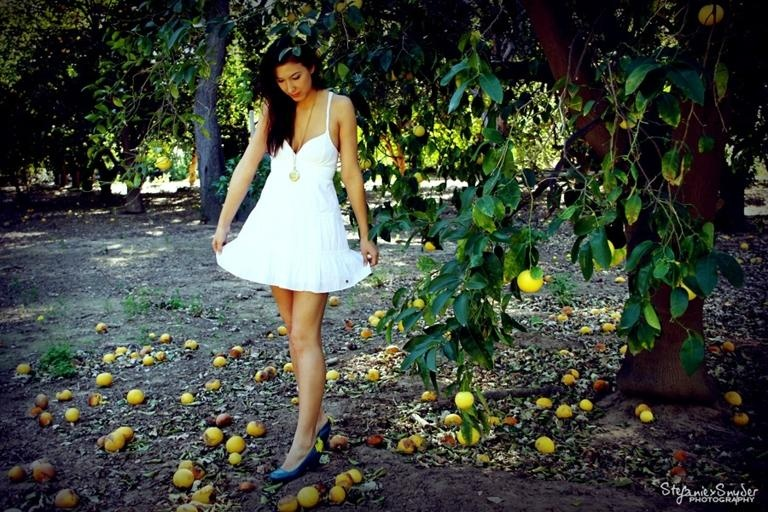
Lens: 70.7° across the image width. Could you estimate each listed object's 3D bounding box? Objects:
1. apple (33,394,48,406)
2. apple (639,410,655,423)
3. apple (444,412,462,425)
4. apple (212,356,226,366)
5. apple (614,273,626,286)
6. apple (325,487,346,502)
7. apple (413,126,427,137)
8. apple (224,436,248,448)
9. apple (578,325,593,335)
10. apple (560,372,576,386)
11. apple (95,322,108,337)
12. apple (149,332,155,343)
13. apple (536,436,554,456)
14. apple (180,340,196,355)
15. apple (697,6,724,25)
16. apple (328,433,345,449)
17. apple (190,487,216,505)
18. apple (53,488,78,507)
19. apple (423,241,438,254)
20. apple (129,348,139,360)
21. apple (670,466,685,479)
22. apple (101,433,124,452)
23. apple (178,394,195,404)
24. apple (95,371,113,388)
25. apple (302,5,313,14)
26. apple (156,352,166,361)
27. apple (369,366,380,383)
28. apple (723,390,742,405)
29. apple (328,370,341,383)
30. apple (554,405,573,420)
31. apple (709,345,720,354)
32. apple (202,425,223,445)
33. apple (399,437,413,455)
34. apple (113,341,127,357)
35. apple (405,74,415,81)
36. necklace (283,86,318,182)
[{"bbox_3d":[-2.476,1.035,3.914,0.074,0.097,0.077,-1,-19,-12],"label":"apple"},{"bbox_3d":[1.662,1.010,3.412,0.065,0.039,0.068,-9,7,-17],"label":"apple"},{"bbox_3d":[0.439,1.041,3.502,0.073,0.044,0.073,-5,-2,-17],"label":"apple"},{"bbox_3d":[-1.355,0.866,4.439,0.090,0.080,0.077,4,-40,-41],"label":"apple"},{"bbox_3d":[2.686,0.274,6.168,0.095,0.081,0.126,-3,7,-2],"label":"apple"},{"bbox_3d":[-0.266,1.309,3.032,0.075,0.098,0.080,7,-5,34],"label":"apple"},{"bbox_3d":[0.241,-0.860,3.763,0.069,0.074,0.040,26,-20,6],"label":"apple"},{"bbox_3d":[-0.945,1.196,3.444,0.089,0.075,0.073,-2,-27,41],"label":"apple"},{"bbox_3d":[1.736,0.635,4.643,0.083,0.072,0.066,1,13,2],"label":"apple"},{"bbox_3d":[1.319,0.876,3.860,0.114,0.066,0.081,-4,10,-1],"label":"apple"},{"bbox_3d":[-2.657,0.691,5.111,0.106,0.096,0.104,37,4,4],"label":"apple"},{"bbox_3d":[-2.092,0.735,4.881,0.051,0.062,0.068,-17,39,-1],"label":"apple"},{"bbox_3d":[0.980,1.153,3.289,0.101,0.085,0.078,10,-40,-29],"label":"apple"},{"bbox_3d":[-1.709,0.788,4.733,0.089,0.097,0.092,-8,34,-8],"label":"apple"},{"bbox_3d":[1.662,-1.207,2.738,0.148,0.102,0.086,-10,12,-29],"label":"apple"},{"bbox_3d":[-0.293,1.142,3.347,0.072,0.080,0.077,4,-7,13],"label":"apple"},{"bbox_3d":[-1.033,1.366,3.085,0.119,0.061,0.118,-6,11,-11],"label":"apple"},{"bbox_3d":[-1.828,1.391,3.101,0.095,0.101,0.101,21,27,-19],"label":"apple"},{"bbox_3d":[0.359,-0.058,4.268,0.141,0.116,0.109,-4,0,-17],"label":"apple"},{"bbox_3d":[-2.126,0.845,4.600,0.047,0.055,0.065,4,-5,-9],"label":"apple"},{"bbox_3d":[1.675,1.222,3.073,0.099,0.036,0.060,-8,11,-21],"label":"apple"},{"bbox_3d":[-1.748,1.205,3.500,0.112,0.118,0.134,-14,-13,33],"label":"apple"},{"bbox_3d":[-1.448,1.045,3.962,0.071,0.072,0.085,-40,-2,-10],"label":"apple"},{"bbox_3d":[-2.197,0.961,4.216,0.136,0.096,0.124,-7,11,-16],"label":"apple"},{"bbox_3d":[-0.472,-1.490,3.290,0.057,0.058,0.033,-6,10,-11],"label":"apple"},{"bbox_3d":[-1.887,0.845,4.561,0.054,0.064,0.074,1,-2,-2],"label":"apple"},{"bbox_3d":[-0.078,0.904,4.119,0.078,0.079,0.075,30,37,-8],"label":"apple"},{"bbox_3d":[2.268,0.915,3.514,0.090,0.077,0.072,8,-16,-2],"label":"apple"},{"bbox_3d":[-0.383,0.924,4.147,0.076,0.063,0.064,7,-26,27],"label":"apple"},{"bbox_3d":[1.168,1.014,3.521,0.080,0.084,0.087,20,40,-6],"label":"apple"},{"bbox_3d":[2.458,0.692,4.027,0.047,0.053,0.066,12,3,10],"label":"apple"},{"bbox_3d":[-1.117,1.175,3.528,0.107,0.111,0.127,29,-17,-7],"label":"apple"},{"bbox_3d":[0.138,1.156,3.305,0.084,0.075,0.049,27,-11,24],"label":"apple"},{"bbox_3d":[-2.280,0.801,4.644,0.079,0.103,0.087,-12,20,2],"label":"apple"},{"bbox_3d":[0.165,-1.161,3.547,0.030,0.031,0.037,-32,7,35],"label":"apple"},{"bbox_3d":[-0.474,-0.642,3.111,0.175,0.426,0.051,-5,9,-8],"label":"necklace"}]
